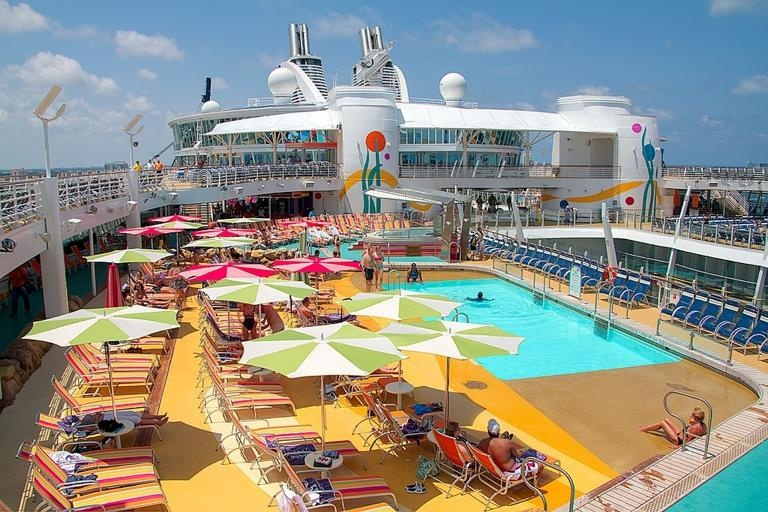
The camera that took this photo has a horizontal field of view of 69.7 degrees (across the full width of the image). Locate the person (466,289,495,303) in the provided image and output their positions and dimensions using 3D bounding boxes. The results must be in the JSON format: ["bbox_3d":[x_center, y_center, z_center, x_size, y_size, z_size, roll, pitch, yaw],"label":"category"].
[{"bbox_3d":[3.250,1.488,19.636,1.011,0.314,1.212,1,-17,5],"label":"person"}]

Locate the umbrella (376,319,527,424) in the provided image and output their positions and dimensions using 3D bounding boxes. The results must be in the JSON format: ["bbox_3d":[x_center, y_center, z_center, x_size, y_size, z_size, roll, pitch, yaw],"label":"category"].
[{"bbox_3d":[1.262,2.472,10.498,2.744,2.126,2.536,0,1,-12],"label":"umbrella"}]

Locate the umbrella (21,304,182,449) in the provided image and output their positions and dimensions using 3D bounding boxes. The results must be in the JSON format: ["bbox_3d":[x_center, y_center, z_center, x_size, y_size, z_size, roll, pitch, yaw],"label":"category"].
[{"bbox_3d":[-4.596,1.900,9.225,2.308,1.899,2.264,3,-20,-35],"label":"umbrella"}]

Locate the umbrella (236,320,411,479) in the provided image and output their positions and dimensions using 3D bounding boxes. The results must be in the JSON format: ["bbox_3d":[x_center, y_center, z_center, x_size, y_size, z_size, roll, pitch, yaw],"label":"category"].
[{"bbox_3d":[-0.906,2.319,9.908,2.280,1.860,2.291,23,37,34],"label":"umbrella"}]

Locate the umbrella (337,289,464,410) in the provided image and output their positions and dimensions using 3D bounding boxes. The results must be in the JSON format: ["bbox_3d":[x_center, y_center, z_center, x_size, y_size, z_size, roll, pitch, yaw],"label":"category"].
[{"bbox_3d":[0.356,1.980,11.193,2.424,0.783,2.391,2,9,18],"label":"umbrella"}]

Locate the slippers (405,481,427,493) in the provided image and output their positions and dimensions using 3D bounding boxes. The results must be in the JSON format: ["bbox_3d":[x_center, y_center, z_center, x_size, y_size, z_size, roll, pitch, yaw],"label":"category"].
[{"bbox_3d":[0.510,3.844,9.150,0.235,0.063,0.169,0,17,6],"label":"slippers"}]

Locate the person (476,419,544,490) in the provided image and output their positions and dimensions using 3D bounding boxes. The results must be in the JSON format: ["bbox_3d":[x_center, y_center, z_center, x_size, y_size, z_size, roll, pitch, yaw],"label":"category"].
[{"bbox_3d":[2.045,3.244,9.086,0.951,1.067,0.398,0,10,8],"label":"person"}]

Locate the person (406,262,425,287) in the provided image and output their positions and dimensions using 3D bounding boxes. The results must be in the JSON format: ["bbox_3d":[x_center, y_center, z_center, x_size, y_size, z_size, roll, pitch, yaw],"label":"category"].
[{"bbox_3d":[1.158,0.700,21.358,0.534,0.854,0.311,-2,39,2],"label":"person"}]

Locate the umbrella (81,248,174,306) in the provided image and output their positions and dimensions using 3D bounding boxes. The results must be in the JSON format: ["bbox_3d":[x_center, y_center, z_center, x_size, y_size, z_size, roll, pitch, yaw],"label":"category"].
[{"bbox_3d":[-6.706,0.702,14.438,1.964,1.509,1.858,0,4,-13],"label":"umbrella"}]

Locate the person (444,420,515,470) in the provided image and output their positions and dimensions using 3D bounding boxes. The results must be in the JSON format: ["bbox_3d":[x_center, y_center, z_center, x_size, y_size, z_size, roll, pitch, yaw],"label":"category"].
[{"bbox_3d":[1.669,3.139,9.145,1.240,0.555,0.661,6,-3,-42],"label":"person"}]

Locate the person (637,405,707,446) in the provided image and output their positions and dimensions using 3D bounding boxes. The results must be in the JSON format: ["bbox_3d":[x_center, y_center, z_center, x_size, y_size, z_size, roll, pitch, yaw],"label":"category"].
[{"bbox_3d":[5.632,3.253,10.807,0.756,0.694,1.240,-1,3,-41],"label":"person"}]
